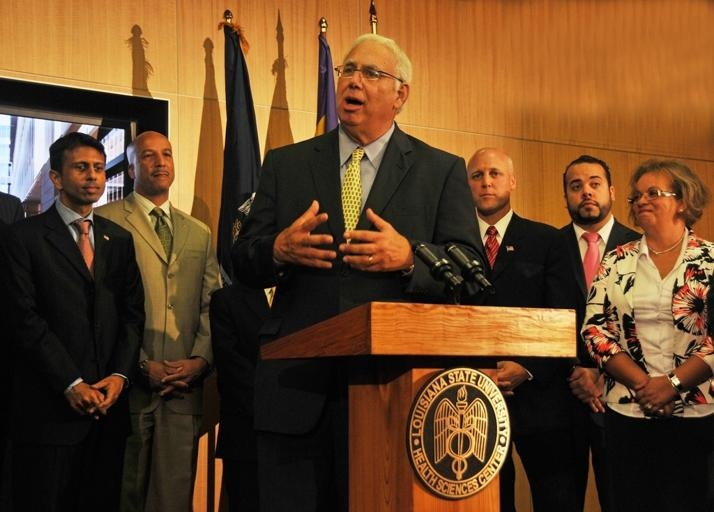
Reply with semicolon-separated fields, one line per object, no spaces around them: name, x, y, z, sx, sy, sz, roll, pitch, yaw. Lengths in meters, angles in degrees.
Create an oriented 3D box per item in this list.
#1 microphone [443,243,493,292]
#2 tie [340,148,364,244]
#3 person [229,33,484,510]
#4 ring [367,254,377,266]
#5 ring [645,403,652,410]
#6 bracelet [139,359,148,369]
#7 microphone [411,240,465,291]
microphone;0.459;0.028;3.655;0.093;0.103;0.330;21;23;-38
tie;-0.018;-0.292;3.901;0.067;0.499;0.051;2;-14;2
person;-0.038;0.067;3.855;1.040;2.186;0.761;2;7;-10
ring;0.066;0.018;3.556;0.031;0.038;0.011;4;37;-1
ring;1.613;0.833;4.647;0.038;0.033;0.007;8;8;22
bracelet;-1.390;0.711;5.529;0.043;0.050;0.015;1;-26;3
microphone;0.345;0.042;3.596;0.229;0.168;0.134;6;8;11
